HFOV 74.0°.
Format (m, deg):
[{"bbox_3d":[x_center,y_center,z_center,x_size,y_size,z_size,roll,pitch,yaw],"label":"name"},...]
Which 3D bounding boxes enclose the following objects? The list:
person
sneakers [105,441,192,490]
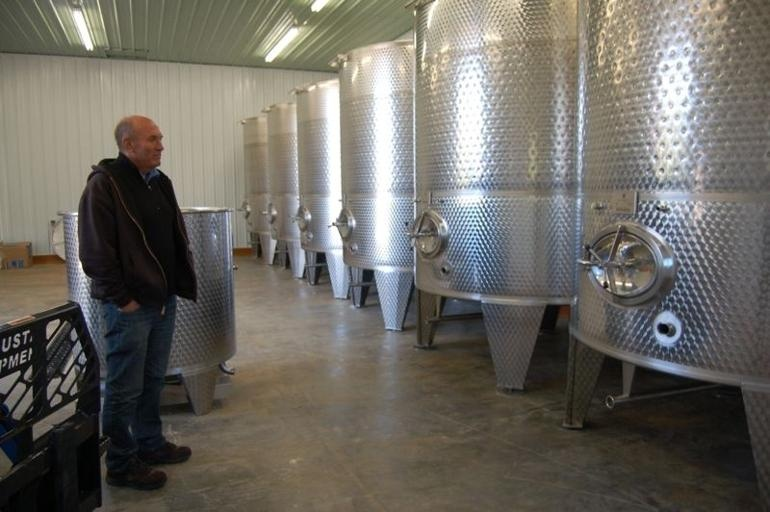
[{"bbox_3d":[-1.460,0.267,3.151,0.456,2.184,0.680,0,13,9],"label":"person"},{"bbox_3d":[-1.461,1.306,3.161,0.223,0.101,0.289,-1,4,2],"label":"sneakers"}]
